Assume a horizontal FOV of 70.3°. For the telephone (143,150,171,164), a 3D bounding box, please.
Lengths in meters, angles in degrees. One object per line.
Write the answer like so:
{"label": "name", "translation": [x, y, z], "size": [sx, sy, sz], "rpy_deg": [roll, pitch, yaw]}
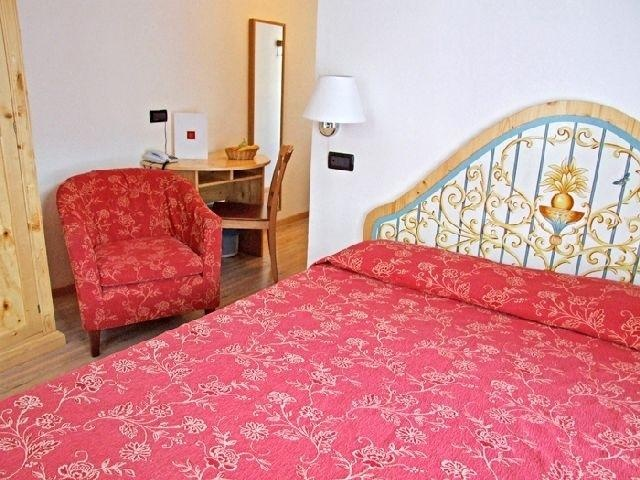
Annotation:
{"label": "telephone", "translation": [-1.279, -0.632, 3.557], "size": [0.192, 0.058, 0.129], "rpy_deg": [8, 24, 16]}

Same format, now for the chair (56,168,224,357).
{"label": "chair", "translation": [-1.211, 0.105, 2.974], "size": [0.974, 0.901, 0.973], "rpy_deg": [-13, 24, -43]}

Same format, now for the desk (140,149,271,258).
{"label": "desk", "translation": [-1.000, -0.315, 4.142], "size": [0.936, 0.767, 1.081], "rpy_deg": [22, 32, 36]}

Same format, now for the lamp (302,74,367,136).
{"label": "lamp", "translation": [0.083, -0.778, 2.667], "size": [0.358, 0.295, 0.331], "rpy_deg": [15, 29, 21]}

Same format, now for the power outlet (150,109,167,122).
{"label": "power outlet", "translation": [-1.323, -1.011, 3.701], "size": [0.017, 0.072, 0.119], "rpy_deg": [21, 30, 31]}
